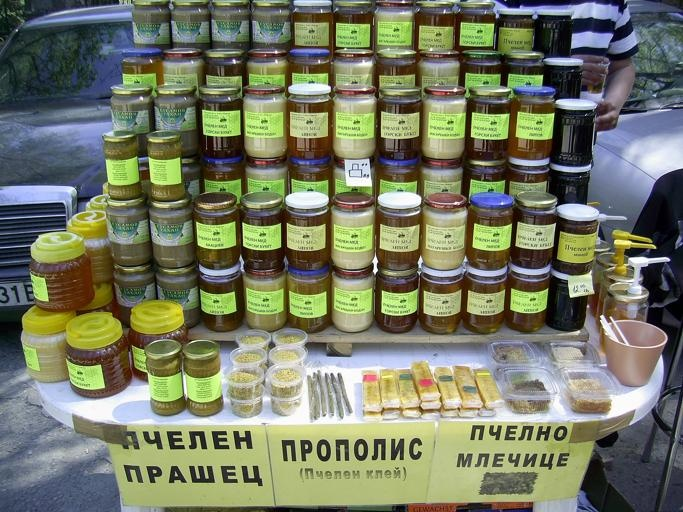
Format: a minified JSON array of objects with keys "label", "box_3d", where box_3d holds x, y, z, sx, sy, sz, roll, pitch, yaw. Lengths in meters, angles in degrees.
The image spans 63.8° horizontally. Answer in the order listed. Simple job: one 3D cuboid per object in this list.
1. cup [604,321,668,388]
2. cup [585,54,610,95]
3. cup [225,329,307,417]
[{"label":"cup","box_3d":[1.088,0.370,2.052,0.238,0.180,0.205,-10,27,-22]},{"label":"cup","box_3d":[1.352,-0.915,2.851,0.122,0.144,0.110,5,24,7]},{"label":"cup","box_3d":[-0.273,0.418,1.993,0.229,0.102,0.301,1,19,-3]}]
